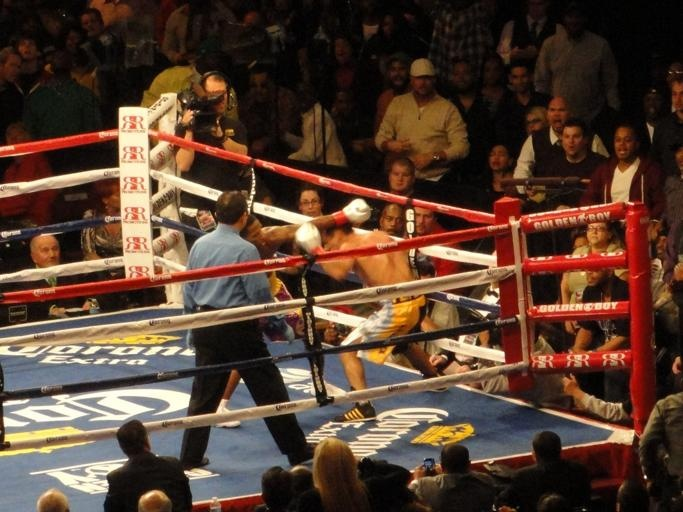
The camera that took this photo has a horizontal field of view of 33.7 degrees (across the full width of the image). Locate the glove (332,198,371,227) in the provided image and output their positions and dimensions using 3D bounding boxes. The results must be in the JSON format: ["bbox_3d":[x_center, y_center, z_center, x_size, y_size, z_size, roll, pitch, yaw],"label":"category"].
[{"bbox_3d":[0.113,-0.287,7.785,0.264,0.154,0.104,-34,-23,21],"label":"glove"}]

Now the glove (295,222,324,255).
[{"bbox_3d":[-0.231,-0.128,7.426,0.150,0.208,0.188,2,-4,-22],"label":"glove"}]

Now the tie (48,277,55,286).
[{"bbox_3d":[-2.762,0.234,10.670,0.099,0.067,0.079,-3,9,-18],"label":"tie"}]

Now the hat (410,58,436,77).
[{"bbox_3d":[0.815,-1.881,11.260,0.247,0.228,0.207,2,-4,-12],"label":"hat"}]

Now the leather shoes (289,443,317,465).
[{"bbox_3d":[-0.249,1.334,7.688,0.144,0.154,0.243,-2,-5,30],"label":"leather shoes"}]

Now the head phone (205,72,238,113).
[{"bbox_3d":[-1.090,-1.454,10.083,0.365,0.361,0.237,-2,9,-3],"label":"head phone"}]

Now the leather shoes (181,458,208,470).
[{"bbox_3d":[-0.998,1.400,7.677,0.134,0.036,0.087,1,-1,-24],"label":"leather shoes"}]
